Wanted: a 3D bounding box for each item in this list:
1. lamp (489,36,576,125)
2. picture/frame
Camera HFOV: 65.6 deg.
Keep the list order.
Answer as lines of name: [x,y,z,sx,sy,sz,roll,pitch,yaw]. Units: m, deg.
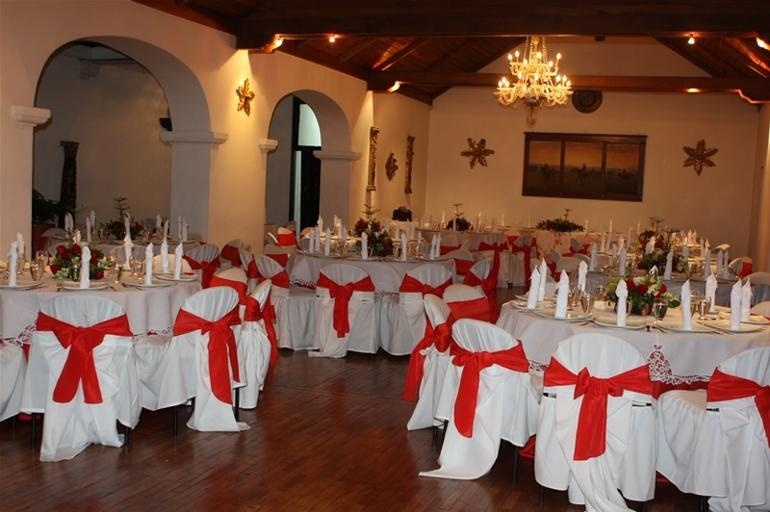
lamp: [2.480,-3.065,9.864,1.054,1.630,1.126,5,2,43]
picture/frame: [4.969,-2.251,14.956,2.851,1.658,0.226,2,4,11]
